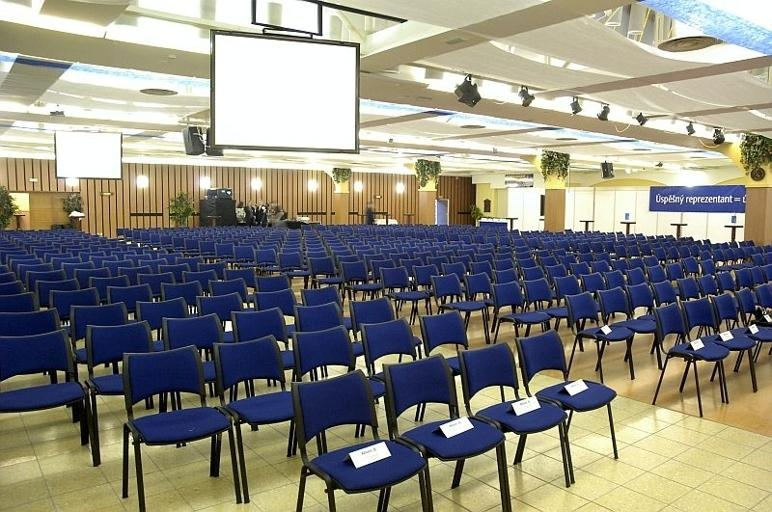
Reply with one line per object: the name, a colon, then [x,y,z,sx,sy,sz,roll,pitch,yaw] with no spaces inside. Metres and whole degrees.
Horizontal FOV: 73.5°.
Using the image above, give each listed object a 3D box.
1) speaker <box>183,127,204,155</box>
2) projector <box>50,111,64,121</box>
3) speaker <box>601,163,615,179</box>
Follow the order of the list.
speaker: [-5.273,-3.202,14.035,0.525,0.694,0.550,-5,6,-18]
projector: [-8.794,-3.774,13.652,0.571,0.189,0.127,6,11,36]
speaker: [9.290,-3.689,21.555,0.443,0.747,1.749,-1,4,22]
